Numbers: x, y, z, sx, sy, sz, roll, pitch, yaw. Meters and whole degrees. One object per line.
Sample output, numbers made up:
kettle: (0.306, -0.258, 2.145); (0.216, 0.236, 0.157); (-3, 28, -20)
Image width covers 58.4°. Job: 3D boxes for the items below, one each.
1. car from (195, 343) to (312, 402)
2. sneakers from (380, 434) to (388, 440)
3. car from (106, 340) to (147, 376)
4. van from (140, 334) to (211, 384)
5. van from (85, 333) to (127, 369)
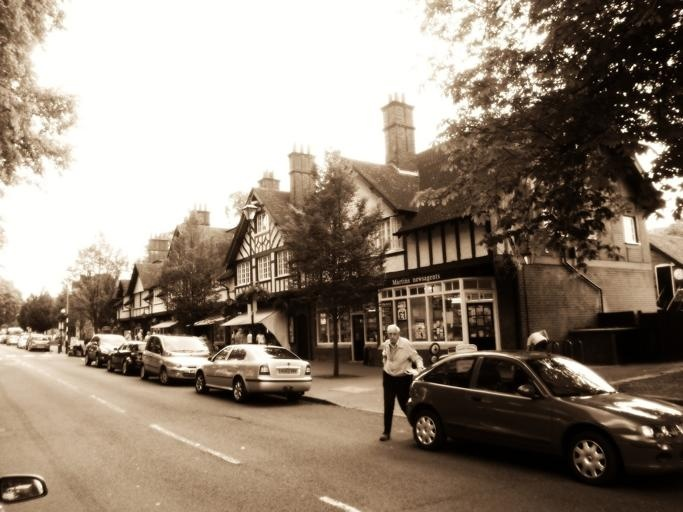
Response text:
car: (-2.704, 3.269, 17.541); (3.456, 1.451, 1.397); (-3, 5, 36)
sneakers: (0.830, 3.609, 12.125); (0.191, 0.098, 0.228); (-5, 4, 3)
car: (-9.486, 4.446, 26.780); (1.176, 1.028, 2.738); (4, -5, -33)
van: (-6.212, 3.779, 22.492); (1.461, 1.439, 2.854); (6, -15, -32)
van: (-12.529, 4.901, 32.302); (1.690, 1.638, 4.057); (4, -14, -29)
